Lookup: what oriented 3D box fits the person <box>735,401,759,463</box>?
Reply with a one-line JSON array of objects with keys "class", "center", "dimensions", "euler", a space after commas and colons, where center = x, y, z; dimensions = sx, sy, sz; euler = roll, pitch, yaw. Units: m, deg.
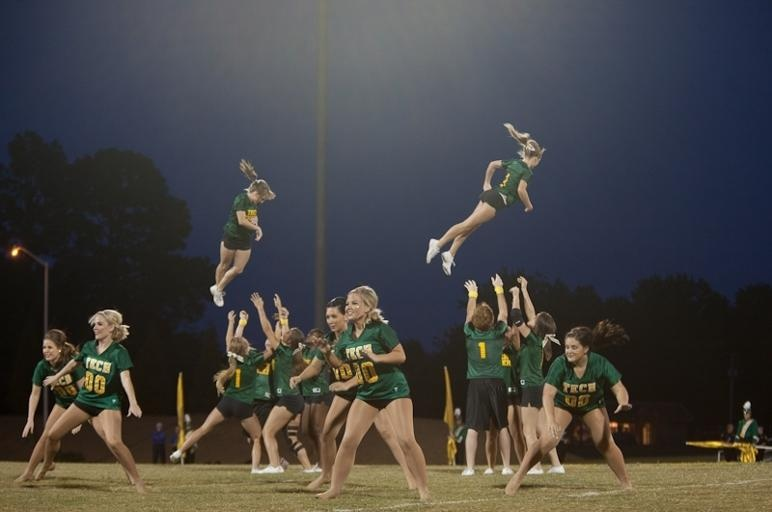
[{"class": "person", "center": [9.953, 4.845, 18.970], "dimensions": [0.537, 1.539, 1.417], "euler": [-5, -14, 26]}]

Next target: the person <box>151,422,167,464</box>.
[{"class": "person", "center": [-8.114, 6.723, 24.638], "dimensions": [0.494, 1.419, 3.697], "euler": [5, -13, -16]}]
